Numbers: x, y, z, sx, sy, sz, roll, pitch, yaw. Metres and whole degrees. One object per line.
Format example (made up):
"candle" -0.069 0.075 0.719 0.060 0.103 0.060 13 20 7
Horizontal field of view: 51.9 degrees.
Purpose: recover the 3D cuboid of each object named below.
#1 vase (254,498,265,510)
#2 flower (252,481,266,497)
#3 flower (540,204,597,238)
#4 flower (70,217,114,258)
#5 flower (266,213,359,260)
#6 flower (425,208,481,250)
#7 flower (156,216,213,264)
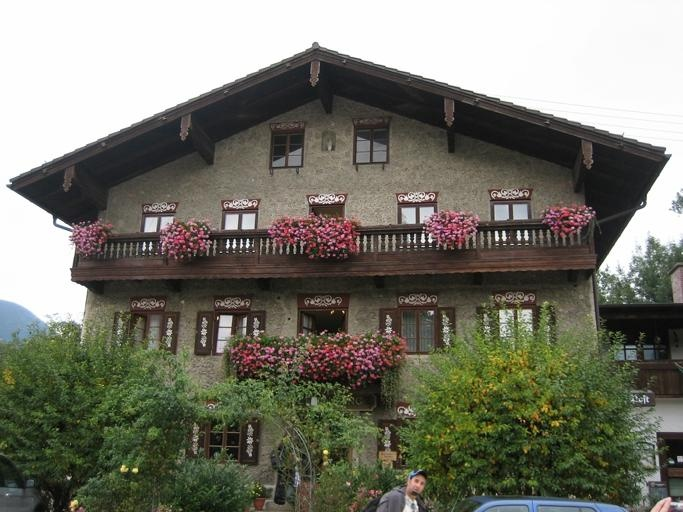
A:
"vase" -2.176 6.714 19.088 0.209 0.341 0.576 -3 -15 16
"flower" -2.272 6.362 19.143 0.267 0.362 0.632 0 -15 6
"flower" 6.303 -1.003 19.484 1.335 0.936 0.376 0 -15 7
"flower" -7.844 -0.619 21.773 1.096 1.402 1.402 11 -17 -31
"flower" -0.674 -0.596 20.198 1.581 0.822 1.714 3 -9 9
"flower" 3.063 -0.859 19.887 1.252 0.846 1.194 -17 31 -21
"flower" -4.593 -0.471 20.634 1.217 0.914 1.318 -2 -6 -10
